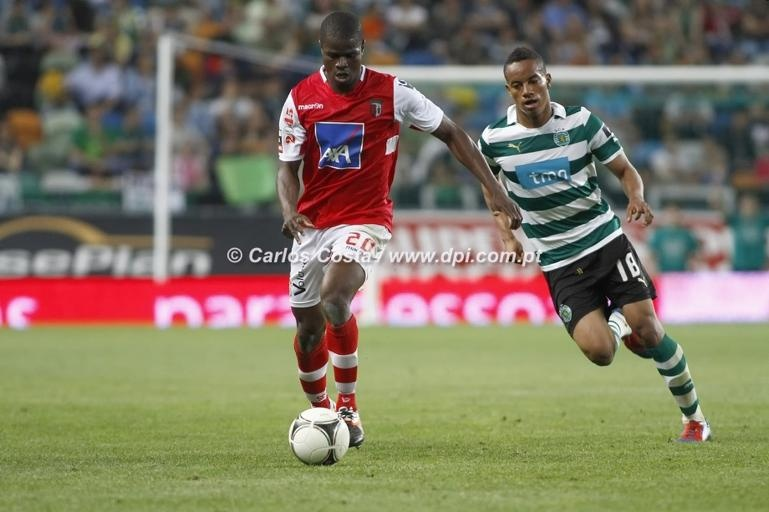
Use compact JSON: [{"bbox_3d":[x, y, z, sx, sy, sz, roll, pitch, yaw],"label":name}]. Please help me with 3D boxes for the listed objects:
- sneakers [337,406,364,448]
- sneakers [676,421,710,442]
[{"bbox_3d":[-0.293,1.529,9.867,0.148,0.430,0.217,-9,15,15],"label":"sneakers"},{"bbox_3d":[2.802,1.568,9.906,0.290,0.172,0.240,1,6,7],"label":"sneakers"}]
